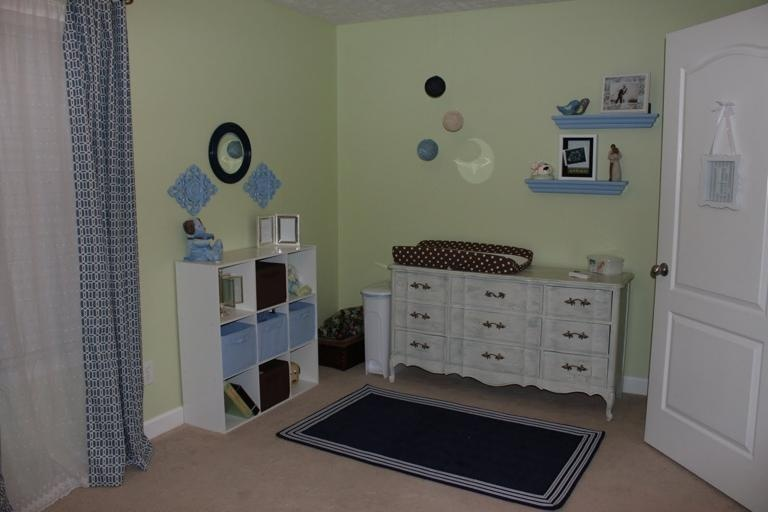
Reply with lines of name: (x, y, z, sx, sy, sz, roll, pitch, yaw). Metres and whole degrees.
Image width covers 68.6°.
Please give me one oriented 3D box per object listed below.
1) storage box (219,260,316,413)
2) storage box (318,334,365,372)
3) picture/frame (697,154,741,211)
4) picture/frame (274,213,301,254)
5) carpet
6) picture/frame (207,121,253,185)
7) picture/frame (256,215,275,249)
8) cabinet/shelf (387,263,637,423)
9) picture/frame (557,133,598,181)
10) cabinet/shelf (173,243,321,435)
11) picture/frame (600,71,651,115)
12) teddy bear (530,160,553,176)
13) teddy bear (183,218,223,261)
storage box: (-0.932, 0.629, 4.389, 0.423, 1.199, 1.049, 1, 7, 19)
storage box: (-0.390, 0.894, 5.245, 0.329, 0.199, 0.334, 3, 5, 36)
picture/frame: (2.114, -0.472, 3.518, 0.044, 0.335, 0.264, -11, 14, -22)
picture/frame: (-0.817, -0.229, 4.796, 0.212, 0.279, 0.027, 1, -5, 9)
carpet: (0.466, 1.336, 4.066, 1.950, 0.144, 1.163, 6, 11, 28)
picture/frame: (-1.216, -0.811, 4.451, 0.063, 0.486, 0.401, 7, 12, 30)
picture/frame: (-0.989, -0.199, 4.666, 0.031, 0.293, 0.254, 4, 9, 30)
cabinet/shelf: (0.992, 0.659, 4.762, 1.879, 1.056, 0.630, 4, 3, 29)
picture/frame: (1.634, -0.828, 4.700, 0.420, 0.535, 0.058, 1, 1, 20)
cabinet/shelf: (-1.051, 0.603, 4.546, 0.446, 1.218, 1.253, 3, 8, 27)
picture/frame: (1.956, -1.303, 4.510, 0.377, 0.321, 0.050, 3, 7, 24)
teddy bear: (1.357, -0.747, 4.808, 0.175, 0.125, 0.100, 3, 11, 14)
teddy bear: (-1.339, -0.126, 4.132, 0.253, 0.305, 0.377, -3, 11, -20)
